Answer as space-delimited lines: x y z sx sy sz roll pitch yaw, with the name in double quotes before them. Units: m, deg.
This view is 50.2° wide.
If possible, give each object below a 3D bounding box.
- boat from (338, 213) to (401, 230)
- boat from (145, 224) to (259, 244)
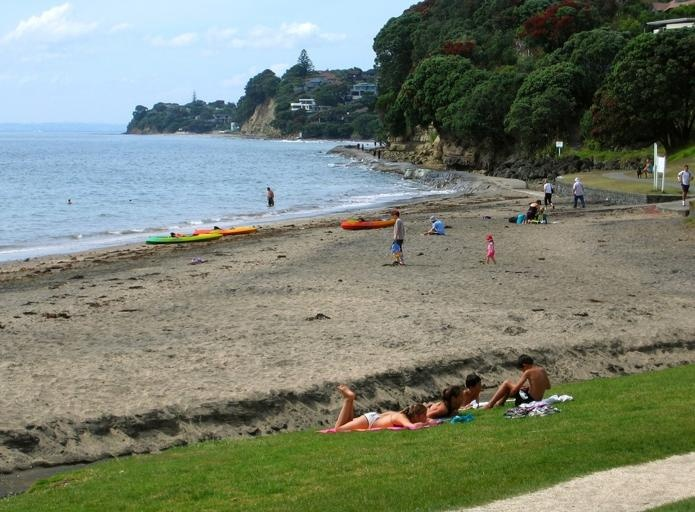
"boat" 0.939 -1.603 36.340 2.115 0.420 1.065 -4 6 -14
"boat" -7.181 -1.087 36.401 5.203 0.463 2.132 -13 17 -41
